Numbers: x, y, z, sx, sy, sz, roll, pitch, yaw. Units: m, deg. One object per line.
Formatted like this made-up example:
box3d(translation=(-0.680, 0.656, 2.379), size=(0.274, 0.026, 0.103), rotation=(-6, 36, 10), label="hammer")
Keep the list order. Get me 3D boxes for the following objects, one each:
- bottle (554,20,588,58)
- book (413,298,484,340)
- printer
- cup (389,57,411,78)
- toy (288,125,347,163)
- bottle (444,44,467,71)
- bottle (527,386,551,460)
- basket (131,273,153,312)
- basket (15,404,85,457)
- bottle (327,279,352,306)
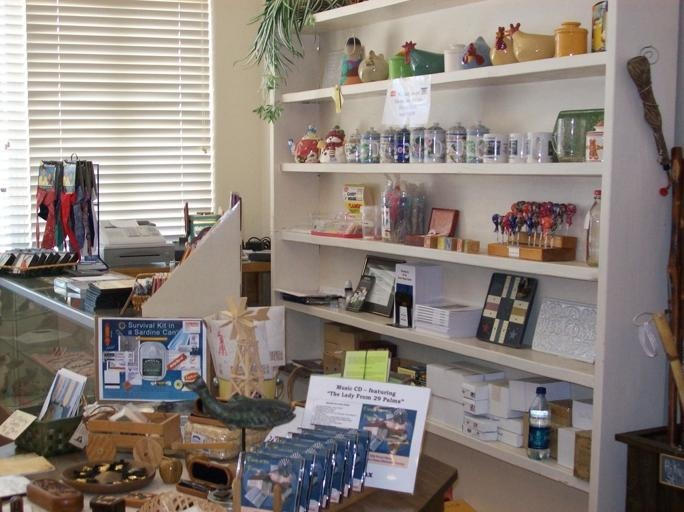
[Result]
box3d(translation=(0.979, -0.933, 2.477), size=(0.133, 0.145, 0.138), rotation=(-5, 12, -17), label="bottle")
box3d(translation=(0.575, 0.334, 3.021), size=(0.179, 0.123, 0.247), rotation=(-1, 6, -32), label="book")
box3d(translation=(-1.585, -0.063, 4.299), size=(0.394, 0.323, 0.404), rotation=(-2, 3, -32), label="printer")
box3d(translation=(0.309, -1.045, 3.180), size=(0.120, 0.123, 0.104), rotation=(-1, 6, 18), label="cup")
box3d(translation=(-0.156, -0.710, 3.736), size=(0.333, 0.225, 0.238), rotation=(4, 10, 34), label="toy")
box3d(translation=(0.550, -0.985, 2.899), size=(0.125, 0.145, 0.129), rotation=(0, 4, 6), label="bottle")
box3d(translation=(0.880, 0.734, 2.565), size=(0.098, 0.322, 0.148), rotation=(2, 7, 8), label="bottle")
box3d(translation=(-0.891, 0.161, 2.548), size=(0.099, 0.161, 0.064), rotation=(-5, 8, -44), label="basket")
box3d(translation=(-0.994, 0.569, 1.941), size=(0.152, 0.097, 0.150), rotation=(-2, 7, -44), label="basket")
box3d(translation=(-0.041, 0.240, 3.846), size=(0.189, 0.199, 0.099), rotation=(-1, 10, -9), label="bottle")
